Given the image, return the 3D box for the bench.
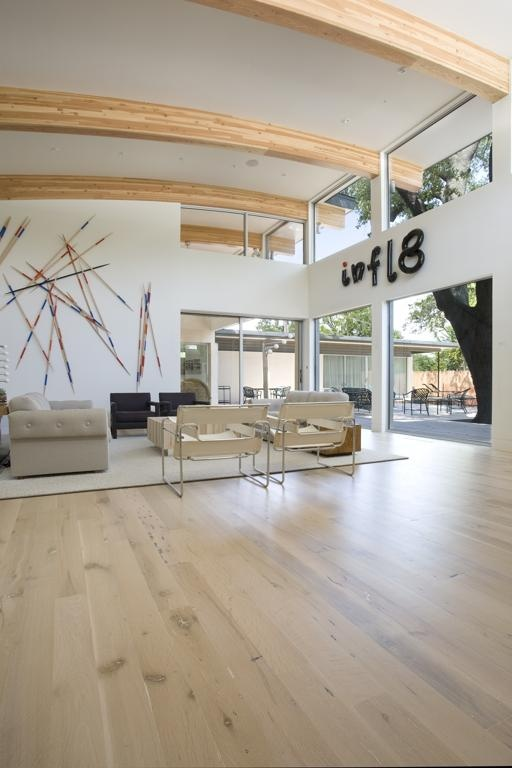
[{"bbox_3d":[0.003,0.468,4.676,1.748,0.558,2.057,0,0,-11],"label":"bench"}]
